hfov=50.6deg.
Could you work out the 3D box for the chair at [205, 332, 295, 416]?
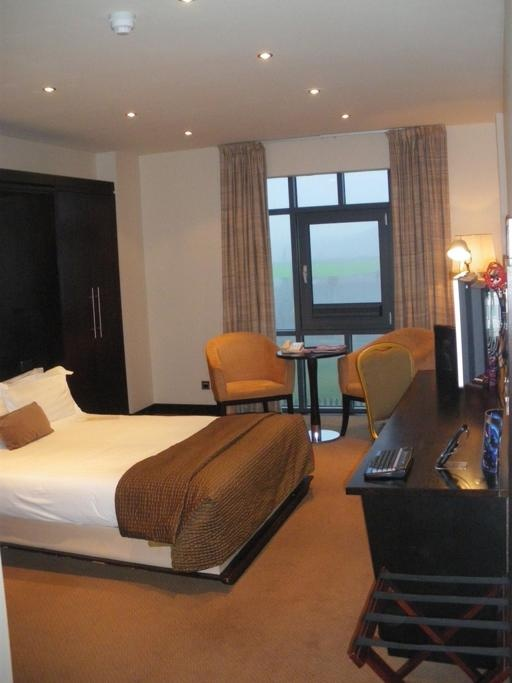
[{"bbox_3d":[-0.036,0.293,5.463,0.811,0.899,0.828,-1,-2,-17],"label":"chair"}]
